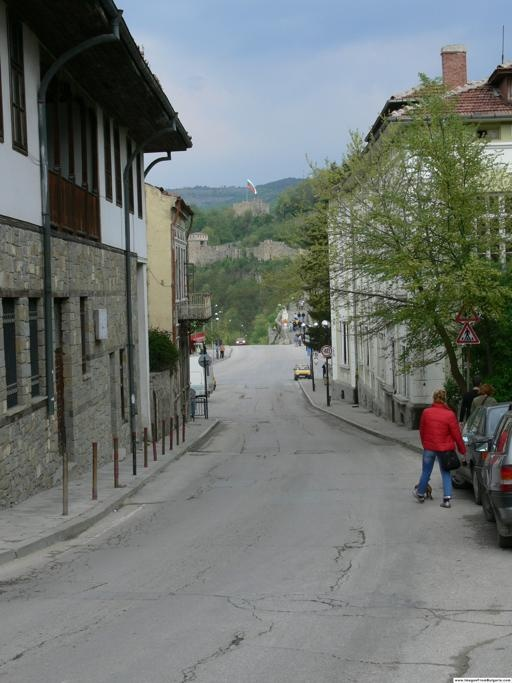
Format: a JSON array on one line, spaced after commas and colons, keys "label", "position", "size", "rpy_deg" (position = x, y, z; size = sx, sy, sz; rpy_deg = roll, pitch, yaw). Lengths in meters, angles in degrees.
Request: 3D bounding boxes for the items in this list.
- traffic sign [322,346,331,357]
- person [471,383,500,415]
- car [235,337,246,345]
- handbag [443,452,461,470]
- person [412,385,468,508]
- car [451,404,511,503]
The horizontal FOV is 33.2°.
[{"label": "traffic sign", "position": [3.411, 0.508, 41.562], "size": [0.454, 0.652, 0.080], "rpy_deg": [0, -3, 0]}, {"label": "person", "position": [3.965, 1.007, 14.940], "size": [0.274, 0.823, 0.416], "rpy_deg": [-11, 14, -41]}, {"label": "car", "position": [-2.665, 0.031, 151.040], "size": [1.108, 1.059, 2.010], "rpy_deg": [-1, -8, 2]}, {"label": "handbag", "position": [2.591, 1.602, 11.424], "size": [0.253, 0.245, 0.238], "rpy_deg": [-5, 0, -11]}, {"label": "person", "position": [2.497, 1.483, 11.838], "size": [0.703, 1.522, 1.200], "rpy_deg": [-5, 0, 10]}, {"label": "car", "position": [3.147, 1.520, 12.319], "size": [0.797, 0.902, 1.585], "rpy_deg": [-1, 3, -8]}]
